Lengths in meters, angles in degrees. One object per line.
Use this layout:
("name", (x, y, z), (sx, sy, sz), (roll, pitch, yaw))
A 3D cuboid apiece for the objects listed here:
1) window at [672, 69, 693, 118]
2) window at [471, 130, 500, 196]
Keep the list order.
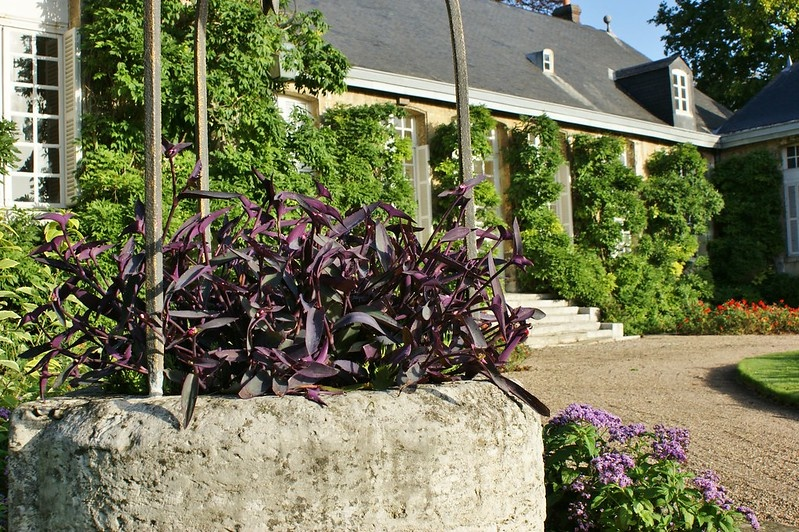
("window", (6.473, -3.938, 28.270), (0.090, 1.223, 1.009), (-7, -1, 39))
("window", (1.774, -2.080, 24.741), (0.546, 1.252, 1.059), (6, 12, 5))
